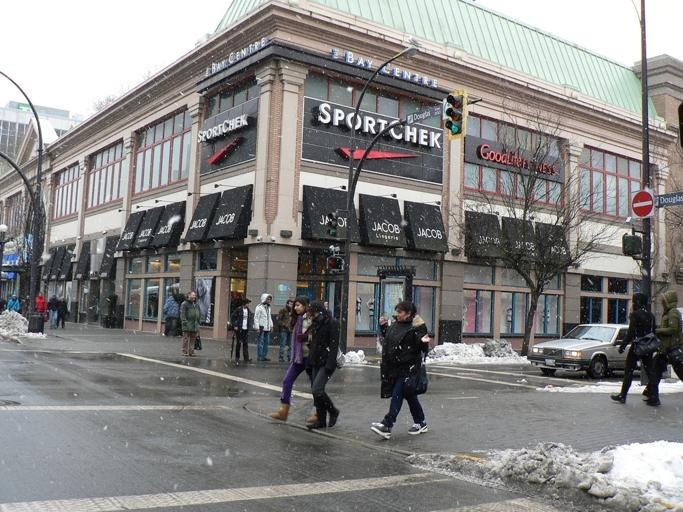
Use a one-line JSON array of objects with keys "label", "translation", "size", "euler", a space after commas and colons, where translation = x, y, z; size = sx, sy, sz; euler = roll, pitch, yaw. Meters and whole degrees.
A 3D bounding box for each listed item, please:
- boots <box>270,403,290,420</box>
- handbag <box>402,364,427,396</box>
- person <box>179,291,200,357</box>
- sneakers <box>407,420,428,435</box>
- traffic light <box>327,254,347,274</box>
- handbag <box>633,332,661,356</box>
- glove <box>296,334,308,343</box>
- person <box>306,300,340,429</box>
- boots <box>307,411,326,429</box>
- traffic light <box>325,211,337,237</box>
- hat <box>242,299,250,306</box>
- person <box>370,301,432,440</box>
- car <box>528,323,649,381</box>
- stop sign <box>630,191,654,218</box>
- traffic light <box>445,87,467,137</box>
[{"label": "boots", "translation": [-1.053, 2.630, 10.533], "size": [0.277, 0.276, 0.221], "euler": [2, -8, -1]}, {"label": "handbag", "translation": [1.090, 1.878, 9.510], "size": [0.390, 0.451, 0.225], "euler": [4, -11, -34]}, {"label": "person", "translation": [-5.050, 2.240, 20.705], "size": [0.567, 2.129, 1.101], "euler": [3, -8, -14]}, {"label": "sneakers", "translation": [1.242, 2.752, 9.966], "size": [0.401, 0.207, 0.137], "euler": [18, -19, -42]}, {"label": "traffic light", "translation": [-0.164, 0.200, 21.434], "size": [0.580, 0.541, 0.477], "euler": [2, -8, -4]}, {"label": "handbag", "translation": [6.218, 1.787, 12.734], "size": [0.331, 0.311, 0.151], "euler": [-23, -13, 10]}, {"label": "glove", "translation": [-0.658, 1.372, 10.416], "size": [0.126, 0.096, 0.135], "euler": [0, -1, 26]}, {"label": "person", "translation": [-0.295, 1.778, 10.186], "size": [0.514, 2.027, 0.363], "euler": [2, -7, -2]}, {"label": "boots", "translation": [-0.416, 2.672, 10.164], "size": [0.336, 0.274, 0.335], "euler": [1, -9, 7]}, {"label": "traffic light", "translation": [-0.345, -1.109, 21.184], "size": [0.274, 0.812, 0.410], "euler": [2, -8, -5]}, {"label": "hat", "translation": [-3.273, 1.567, 21.304], "size": [0.319, 0.190, 0.465], "euler": [3, -10, -30]}, {"label": "person", "translation": [0.916, 1.754, 9.770], "size": [0.839, 2.117, 0.681], "euler": [0, -8, 9]}, {"label": "car", "translation": [7.615, 2.905, 19.069], "size": [2.756, 1.046, 1.665], "euler": [9, -12, -33]}, {"label": "stop sign", "translation": [7.551, -1.369, 15.659], "size": [0.471, 0.733, 0.725], "euler": [-2, -9, 23]}, {"label": "traffic light", "translation": [3.023, -3.840, 16.617], "size": [0.560, 1.406, 0.681], "euler": [0, -8, 8]}]
